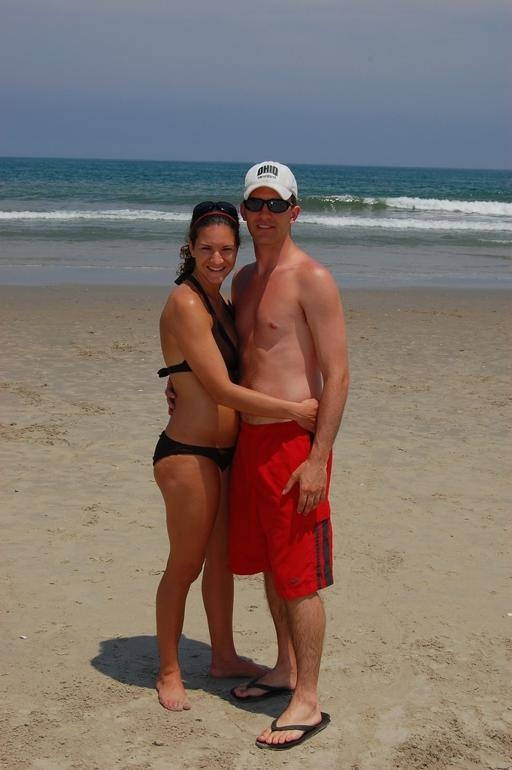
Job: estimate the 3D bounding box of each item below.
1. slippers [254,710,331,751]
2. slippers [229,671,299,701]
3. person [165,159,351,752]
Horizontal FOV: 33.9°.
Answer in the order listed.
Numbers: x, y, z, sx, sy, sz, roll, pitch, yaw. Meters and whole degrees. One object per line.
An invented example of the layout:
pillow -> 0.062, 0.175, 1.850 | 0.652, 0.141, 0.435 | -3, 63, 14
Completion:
slippers -> 0.142, 1.174, 2.880 | 0.226, 0.046, 0.087 | -4, 11, -42
slippers -> 0.033, 1.132, 3.161 | 0.239, 0.047, 0.084 | 0, 14, -17
person -> 0.112, 0.207, 2.993 | 0.369, 2.016, 0.464 | 1, 2, -10
